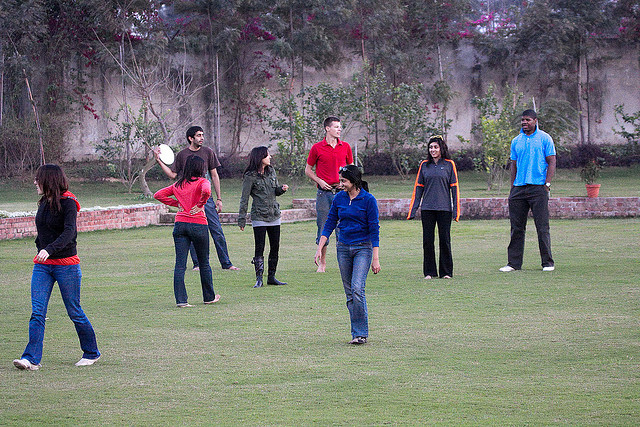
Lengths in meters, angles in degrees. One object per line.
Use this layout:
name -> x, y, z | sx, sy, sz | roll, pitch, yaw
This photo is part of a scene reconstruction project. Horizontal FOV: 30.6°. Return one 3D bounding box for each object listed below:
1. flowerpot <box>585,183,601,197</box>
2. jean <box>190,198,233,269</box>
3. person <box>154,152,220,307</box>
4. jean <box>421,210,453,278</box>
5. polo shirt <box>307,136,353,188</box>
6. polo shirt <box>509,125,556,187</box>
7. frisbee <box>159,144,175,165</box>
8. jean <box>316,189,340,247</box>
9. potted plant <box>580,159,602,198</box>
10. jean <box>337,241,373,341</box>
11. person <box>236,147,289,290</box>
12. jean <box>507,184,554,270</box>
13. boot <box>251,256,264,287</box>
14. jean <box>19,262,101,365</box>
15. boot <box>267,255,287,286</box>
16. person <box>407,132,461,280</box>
flowerpot -> 8.469, -0.735, 36.499 | 0.454, 0.285, 0.413 | 0, -2, 12
jean -> -2.571, 0.507, 28.498 | 1.427, 1.821, 0.768 | 2, 0, -10
person -> -2.954, 0.398, 26.450 | 1.049, 3.377, 0.580 | -3, 5, 5
jean -> 2.845, 0.745, 28.060 | 0.777, 1.551, 0.693 | 1, 1, 13
polo shirt -> 0.220, -1.237, 28.221 | 1.071, 1.203, 0.338 | -3, 5, -1
polo shirt -> 5.096, -1.392, 28.197 | 0.990, 1.481, 0.356 | -3, 5, 5
frisbee -> -3.844, -1.446, 29.113 | 0.134, 0.490, 0.558 | -23, -31, 34
jean -> 0.167, 0.080, 28.363 | 0.710, 1.260, 0.517 | 1, 1, 0
potted plant -> 8.636, -1.114, 37.254 | 0.968, 1.264, 0.701 | -3, 1, 22
jean -> 0.785, 1.632, 24.896 | 0.733, 2.075, 0.458 | -3, 5, 0
person -> -1.358, 0.098, 27.691 | 1.003, 3.324, 0.836 | -6, 5, -26
jean -> 5.003, 0.330, 28.225 | 1.082, 2.066, 0.359 | -2, 5, 9
boot -> -1.468, 1.368, 27.630 | 0.238, 0.724, 0.274 | -4, 5, -6
jean -> -5.427, 2.061, 24.296 | 1.541, 2.093, 0.386 | -4, 5, -9
boot -> -1.075, 1.334, 27.721 | 0.403, 0.736, 0.372 | -3, 5, -4
person -> 2.731, -0.142, 27.966 | 1.130, 3.408, 0.555 | -3, 5, 4
